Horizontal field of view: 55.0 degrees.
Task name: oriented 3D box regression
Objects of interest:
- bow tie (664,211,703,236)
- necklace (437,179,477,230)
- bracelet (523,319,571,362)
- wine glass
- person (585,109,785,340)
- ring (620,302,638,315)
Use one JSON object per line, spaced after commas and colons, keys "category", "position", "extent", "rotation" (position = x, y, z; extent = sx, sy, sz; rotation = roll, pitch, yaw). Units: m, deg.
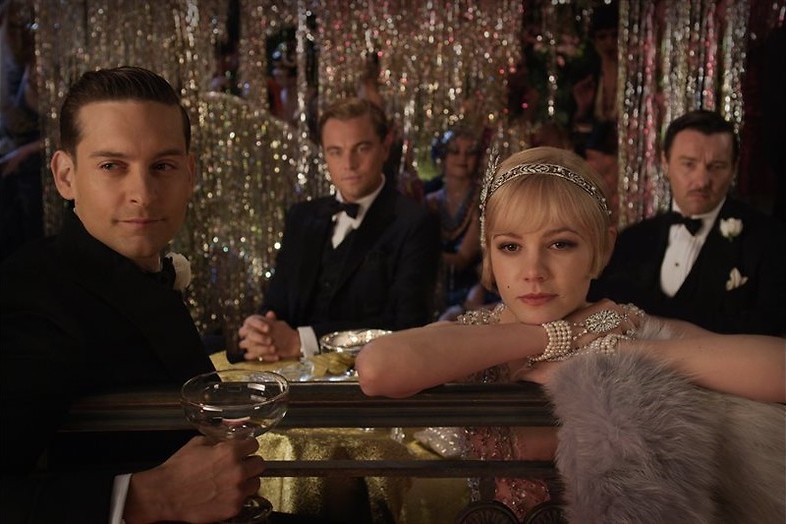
{"category": "bow tie", "position": [1.028, -0.138, 2.653], "extent": [0.084, 0.032, 0.085], "rotation": [-30, 38, -12]}
{"category": "necklace", "position": [0.259, -0.224, 3.006], "extent": [0.136, 0.186, 0.055], "rotation": [2, 1, -3]}
{"category": "bracelet", "position": [0.469, 0.231, 2.260], "extent": [0.084, 0.054, 0.112], "rotation": [14, -19, -34]}
{"category": "wine glass", "position": [-0.435, 0.467, 2.089], "extent": [0.234, 0.351, 0.233], "rotation": [-3, 19, -9]}
{"category": "person", "position": [1.017, -0.106, 2.564], "extent": [0.697, 0.644, 0.386], "rotation": [6, 11, 38]}
{"category": "ring", "position": [0.725, 0.146, 2.318], "extent": [0.045, 0.018, 0.033], "rotation": [19, 3, -6]}
